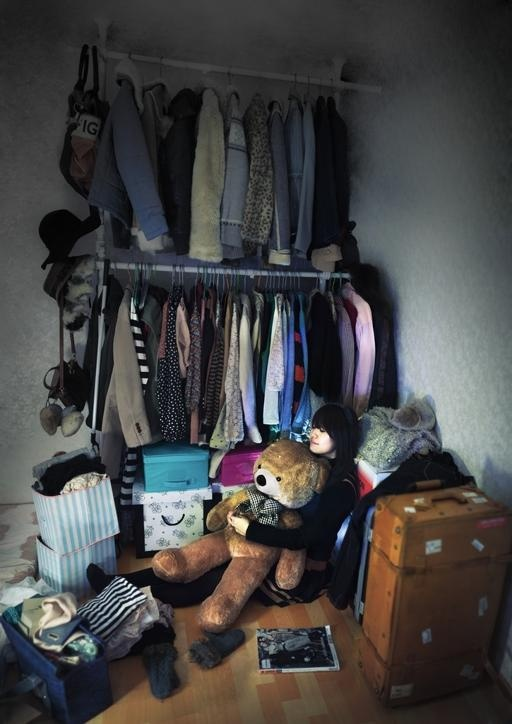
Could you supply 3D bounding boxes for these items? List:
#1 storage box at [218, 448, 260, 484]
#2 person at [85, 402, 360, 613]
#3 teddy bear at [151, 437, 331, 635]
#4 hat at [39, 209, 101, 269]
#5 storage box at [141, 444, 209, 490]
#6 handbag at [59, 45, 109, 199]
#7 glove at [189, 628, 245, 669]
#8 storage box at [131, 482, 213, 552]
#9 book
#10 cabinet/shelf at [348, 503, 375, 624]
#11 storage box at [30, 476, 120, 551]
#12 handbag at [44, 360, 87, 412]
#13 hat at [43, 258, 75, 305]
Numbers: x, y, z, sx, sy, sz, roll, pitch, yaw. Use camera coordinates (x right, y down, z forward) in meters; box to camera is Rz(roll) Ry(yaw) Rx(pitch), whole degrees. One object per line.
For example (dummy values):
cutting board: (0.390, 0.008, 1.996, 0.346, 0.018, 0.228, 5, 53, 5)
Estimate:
storage box: (-0.069, 0.432, 2.316, 0.172, 0.118, 0.132, -4, 12, -23)
person: (-0.116, 0.455, 2.203, 0.948, 0.781, 0.554, -6, 16, -16)
teddy bear: (-0.035, 0.561, 2.007, 0.572, 0.539, 0.404, -10, 18, -44)
hat: (-0.755, -0.504, 2.276, 0.234, 0.240, 0.115, -3, 13, -24)
storage box: (-0.323, 0.422, 2.225, 0.182, 0.125, 0.192, -1, 9, -16)
handbag: (-0.643, -0.911, 2.108, 0.183, 0.561, 0.242, -7, 15, -36)
glove: (-0.115, 0.864, 1.722, 0.118, 0.056, 0.072, -7, 12, -37)
storage box: (-0.359, 0.573, 2.377, 0.316, 0.352, 0.252, -2, 8, -17)
book: (0.125, 0.883, 1.738, 0.243, 0.024, 0.184, 1, 14, -5)
cabinet/shelf: (0.355, 0.667, 1.849, 0.070, 0.307, 0.280, 2, -1, 11)
storage box: (-0.641, 0.470, 1.973, 0.261, 0.235, 0.219, -10, 11, -35)
handbag: (-0.743, 0.083, 2.282, 0.209, 0.235, 0.143, 0, 15, -15)
hat: (-0.794, -0.336, 2.233, 0.058, 0.174, 0.120, 25, 12, -2)
